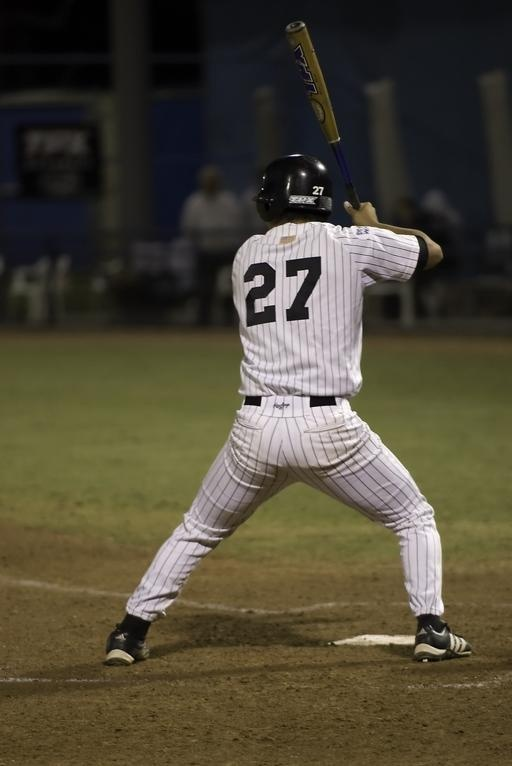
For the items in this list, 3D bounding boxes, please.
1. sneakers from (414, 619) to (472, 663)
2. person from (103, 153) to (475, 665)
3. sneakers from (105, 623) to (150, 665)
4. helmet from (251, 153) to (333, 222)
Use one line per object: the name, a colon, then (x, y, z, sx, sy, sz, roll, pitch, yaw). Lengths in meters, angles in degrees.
sneakers: (0.447, 0.636, 2.336, 0.202, 0.082, 0.071, 5, -5, -40)
person: (0.083, 0.152, 2.350, 0.877, 1.115, 0.332, 0, 3, 7)
sneakers: (-0.316, 0.666, 2.424, 0.064, 0.065, 0.158, 4, -5, 14)
helmet: (0.103, -0.500, 2.470, 0.198, 0.162, 0.232, -4, 11, -27)
